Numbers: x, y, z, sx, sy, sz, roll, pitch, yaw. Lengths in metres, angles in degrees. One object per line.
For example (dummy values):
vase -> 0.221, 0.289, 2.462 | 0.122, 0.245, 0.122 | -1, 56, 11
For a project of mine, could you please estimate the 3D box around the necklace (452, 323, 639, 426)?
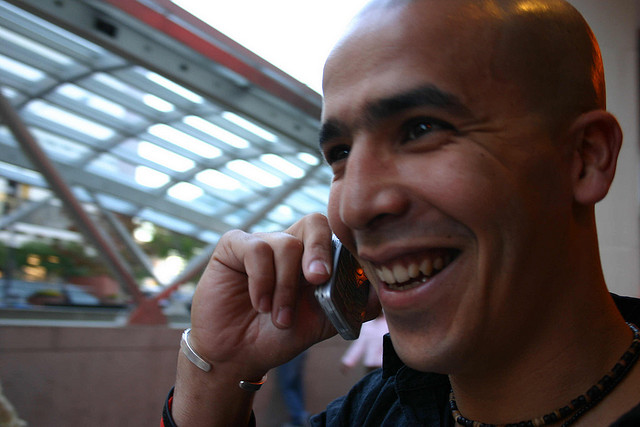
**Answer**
necklace -> 1.038, 0.601, 2.362 | 0.584, 0.043, 0.462 | -35, -1, -19
